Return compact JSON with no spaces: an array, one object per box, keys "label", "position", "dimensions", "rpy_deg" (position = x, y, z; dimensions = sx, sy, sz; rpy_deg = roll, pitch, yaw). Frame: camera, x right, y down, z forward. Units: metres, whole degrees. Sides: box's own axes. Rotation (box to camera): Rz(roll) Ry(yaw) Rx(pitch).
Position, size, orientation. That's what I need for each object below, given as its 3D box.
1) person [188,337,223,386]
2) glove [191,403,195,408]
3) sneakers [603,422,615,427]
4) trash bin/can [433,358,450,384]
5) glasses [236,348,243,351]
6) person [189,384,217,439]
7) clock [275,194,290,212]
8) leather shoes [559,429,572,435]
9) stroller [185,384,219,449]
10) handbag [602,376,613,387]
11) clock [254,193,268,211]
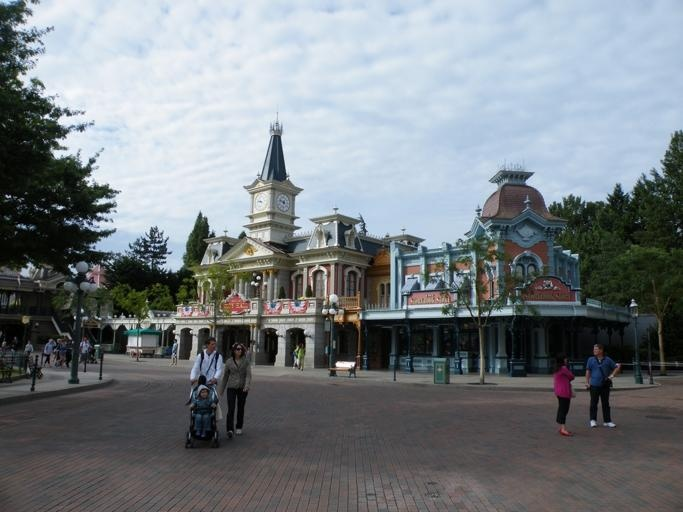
[{"label":"person","position":[-3.073,2.383,13.596],"dimensions":[0.647,1.039,1.139],"rpy_deg":[3,-10,-14]},{"label":"glove","position":[-3.180,3.183,12.679],"dimensions":[0.131,0.110,0.066],"rpy_deg":[-6,-11,35]},{"label":"sneakers","position":[6.962,4.389,15.490],"dimensions":[0.097,0.114,0.261],"rpy_deg":[5,-13,-32]},{"label":"trash bin/can","position":[4.823,5.547,28.790],"dimensions":[0.705,1.204,0.567],"rpy_deg":[0,-9,6]},{"label":"glasses","position":[-2.338,2.167,13.851],"dimensions":[0.072,0.106,0.151],"rpy_deg":[-4,-10,25]},{"label":"person","position":[-2.962,3.340,12.782],"dimensions":[0.530,1.121,0.330],"rpy_deg":[3,-9,-15]},{"label":"clock","position":[-5.370,-4.943,54.938],"dimensions":[0.138,1.634,1.832],"rpy_deg":[-5,-11,32]},{"label":"leather shoes","position":[5.412,4.247,14.389],"dimensions":[0.258,0.137,0.352],"rpy_deg":[0,-10,2]},{"label":"stroller","position":[-2.962,3.284,12.701],"dimensions":[0.689,1.007,0.777],"rpy_deg":[1,1,-42]},{"label":"handbag","position":[7.016,3.322,15.697],"dimensions":[0.137,0.273,0.566],"rpy_deg":[-6,-12,37]},{"label":"clock","position":[-7.344,-4.987,54.742],"dimensions":[0.190,1.765,1.648],"rpy_deg":[10,-12,-44]}]
